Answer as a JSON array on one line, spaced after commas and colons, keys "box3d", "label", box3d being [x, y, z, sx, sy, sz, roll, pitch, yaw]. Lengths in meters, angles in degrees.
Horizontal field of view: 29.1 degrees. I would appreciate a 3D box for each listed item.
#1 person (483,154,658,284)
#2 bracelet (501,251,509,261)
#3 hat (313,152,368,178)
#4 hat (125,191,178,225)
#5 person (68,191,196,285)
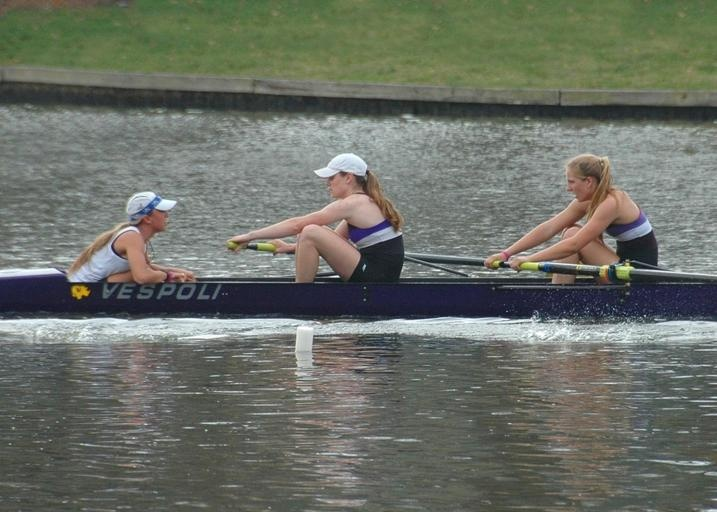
[{"box3d": [2.035, -0.260, 13.077, 1.813, 1.003, 0.657, -3, 12, -5], "label": "person"}, {"box3d": [1.383, -0.013, 13.062, 0.102, 0.059, 0.080, 22, 22, -10], "label": "bracelet"}, {"box3d": [-0.189, -0.856, 12.777, 0.524, 0.161, 0.256, 2, 1, -3], "label": "hat"}, {"box3d": [-1.863, -0.472, 12.586, 0.563, 0.184, 0.287, -14, 14, 2], "label": "hat"}, {"box3d": [-2.090, -0.167, 12.616, 1.164, 0.873, 0.324, -1, 24, -5], "label": "person"}]
